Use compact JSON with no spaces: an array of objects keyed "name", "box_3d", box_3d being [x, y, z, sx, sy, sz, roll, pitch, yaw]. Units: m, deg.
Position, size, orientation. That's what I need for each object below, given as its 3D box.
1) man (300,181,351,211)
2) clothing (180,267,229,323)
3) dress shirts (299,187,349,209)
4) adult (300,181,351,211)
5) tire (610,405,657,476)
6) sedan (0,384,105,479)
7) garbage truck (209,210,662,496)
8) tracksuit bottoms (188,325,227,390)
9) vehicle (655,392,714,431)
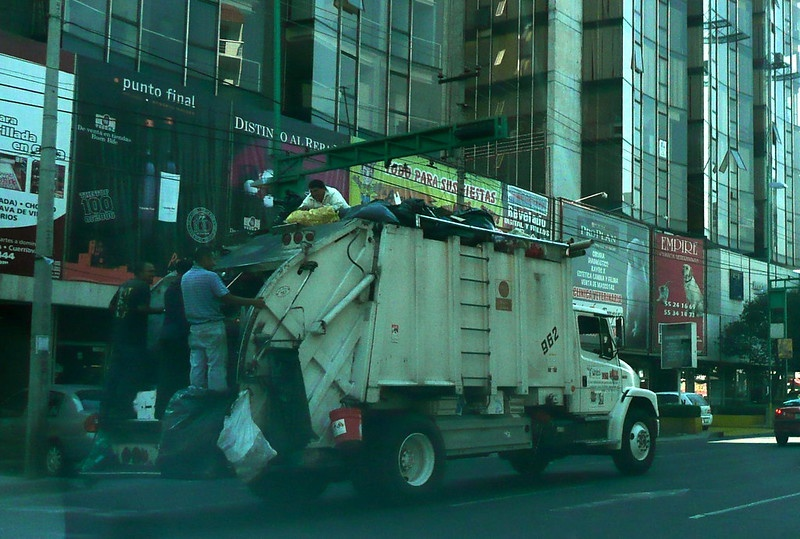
[{"name":"man","box_3d":[-1.687,-1.613,22.059,0.740,0.573,0.923,-6,10,31]},{"name":"clothing","box_3d":[-3.992,0.521,19.816,1.107,1.200,0.715,-4,3,23]},{"name":"dress shirts","box_3d":[-1.703,-1.484,21.939,0.644,0.539,0.778,-18,6,45]},{"name":"adult","box_3d":[-1.664,-1.632,22.082,0.740,0.573,0.923,-6,10,31]},{"name":"tire","box_3d":[5.688,4.153,23.871,0.563,1.455,1.376,1,-23,35]},{"name":"sedan","box_3d":[-8.114,3.767,23.289,3.746,1.707,1.820,-1,-6,28]},{"name":"garbage truck","box_3d":[0.829,1.883,20.941,8.669,5.597,1.359,7,3,-29]},{"name":"tracksuit bottoms","box_3d":[-3.833,1.743,19.488,0.724,1.488,0.523,1,8,20]},{"name":"vehicle","box_3d":[12.186,6.248,41.960,2.960,1.457,1.794,1,-6,28]}]
